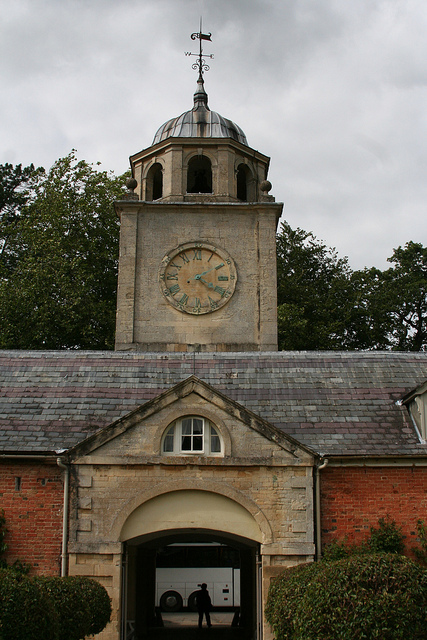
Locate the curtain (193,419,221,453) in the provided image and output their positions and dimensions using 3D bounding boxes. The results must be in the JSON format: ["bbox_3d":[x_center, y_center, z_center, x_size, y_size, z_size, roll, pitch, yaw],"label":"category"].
[{"bbox_3d":[-0.130,2.498,16.818,0.831,1.012,0.029,-1,-24,0],"label":"curtain"}]

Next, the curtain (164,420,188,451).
[{"bbox_3d":[-0.834,2.488,16.802,0.737,0.891,0.031,0,-7,1],"label":"curtain"}]

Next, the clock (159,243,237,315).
[{"bbox_3d":[-0.526,-1.204,24.754,2.521,2.278,0.346,0,-14,1],"label":"clock"}]
